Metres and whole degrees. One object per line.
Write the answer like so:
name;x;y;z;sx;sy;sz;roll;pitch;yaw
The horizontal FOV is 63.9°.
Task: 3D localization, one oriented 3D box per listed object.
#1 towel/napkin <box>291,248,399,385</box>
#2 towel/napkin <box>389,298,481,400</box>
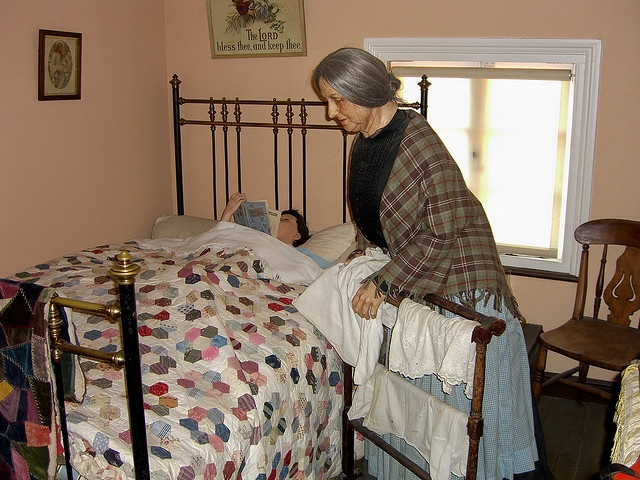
towel/napkin;0.151;0.301;2.072;0.150;0.466;0.454;-9;40;-48
towel/napkin;0.390;0.353;1.709;0.132;0.264;0.284;-11;24;-43
